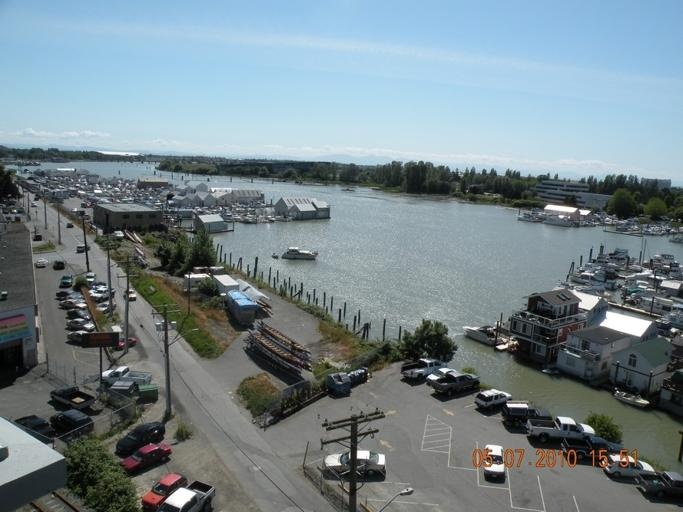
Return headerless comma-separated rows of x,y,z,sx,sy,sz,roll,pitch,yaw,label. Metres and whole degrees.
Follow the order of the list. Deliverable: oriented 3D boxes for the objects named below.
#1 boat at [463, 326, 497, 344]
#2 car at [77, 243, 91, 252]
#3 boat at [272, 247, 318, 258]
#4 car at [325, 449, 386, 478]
12.980,7.342,48.131,3.187,1.036,2.051,10,12,27,boat
-31.457,-1.053,63.194,0.969,0.690,1.530,4,20,0,car
-6.652,-0.541,76.775,6.234,1.566,4.369,4,11,-3,boat
0.633,11.056,27.582,3.016,0.808,1.319,4,9,2,car
